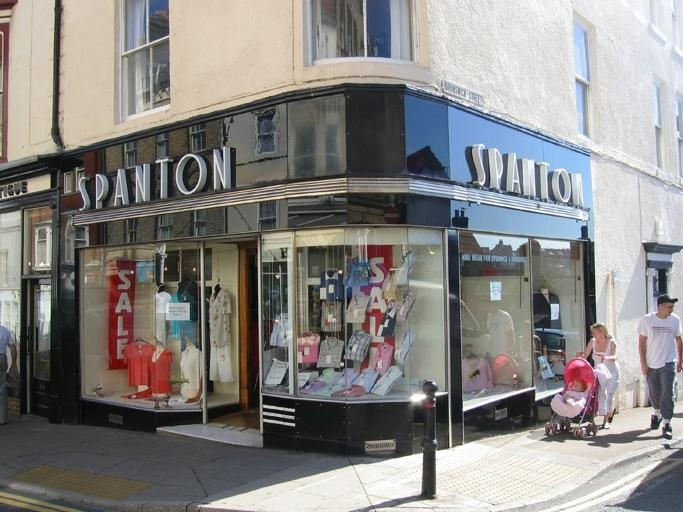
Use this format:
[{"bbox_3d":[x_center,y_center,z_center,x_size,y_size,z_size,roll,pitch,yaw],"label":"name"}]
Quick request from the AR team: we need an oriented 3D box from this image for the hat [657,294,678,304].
[{"bbox_3d":[5.951,0.823,14.460,0.395,0.234,0.247,-6,-2,41],"label":"hat"}]

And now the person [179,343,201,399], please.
[{"bbox_3d":[-2.877,2.233,15.040,0.419,1.041,0.265,-1,8,1],"label":"person"}]

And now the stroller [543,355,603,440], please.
[{"bbox_3d":[4.246,2.604,14.379,0.901,1.396,1.095,2,9,21],"label":"stroller"}]

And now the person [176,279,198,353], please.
[{"bbox_3d":[-2.946,1.095,15.074,0.469,1.429,0.165,2,8,21],"label":"person"}]

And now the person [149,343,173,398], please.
[{"bbox_3d":[-3.523,2.248,15.213,0.667,0.966,0.367,4,9,34],"label":"person"}]
